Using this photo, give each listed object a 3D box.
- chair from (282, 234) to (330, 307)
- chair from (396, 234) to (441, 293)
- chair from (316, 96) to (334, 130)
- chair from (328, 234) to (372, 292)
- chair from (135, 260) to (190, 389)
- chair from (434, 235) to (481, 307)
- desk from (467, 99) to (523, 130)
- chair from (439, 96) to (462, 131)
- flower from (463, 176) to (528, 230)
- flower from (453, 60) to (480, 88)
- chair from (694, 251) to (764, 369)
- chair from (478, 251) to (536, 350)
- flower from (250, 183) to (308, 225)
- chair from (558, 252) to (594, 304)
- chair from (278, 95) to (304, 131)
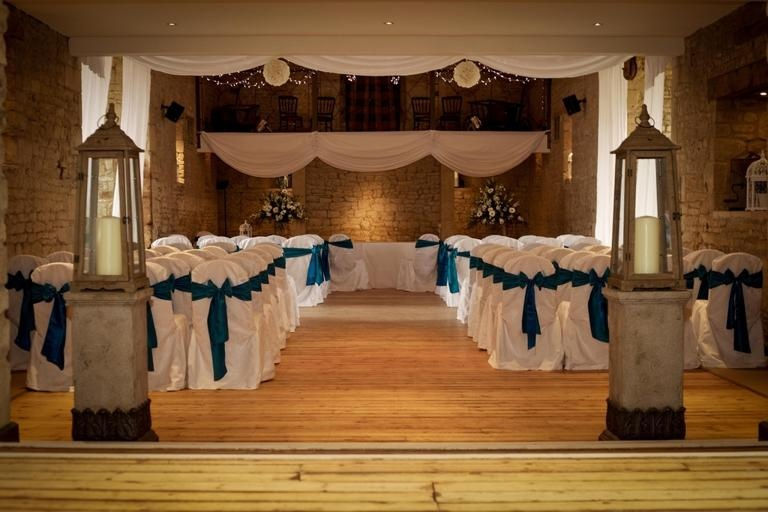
[{"bbox_3d":[-1.087,0.216,8.505,0.390,0.554,0.981,-1,4,-1],"label":"chair"},{"bbox_3d":[0.468,0.147,10.033,0.782,1.265,1.013,2,4,8],"label":"chair"},{"bbox_3d":[-1.306,-3.213,13.979,0.394,0.766,0.832,-1,13,-4],"label":"chair"},{"bbox_3d":[-0.532,0.153,10.670,0.776,1.277,1.065,-1,4,-2],"label":"chair"},{"bbox_3d":[-1.802,0.567,5.115,0.322,1.041,0.326,-4,14,-16],"label":"chair"},{"bbox_3d":[0.779,0.203,8.626,0.866,1.066,0.830,-1,5,-8],"label":"chair"},{"bbox_3d":[2.336,-2.997,13.164,1.163,0.616,2.133,2,13,9],"label":"desk"},{"bbox_3d":[1.485,-3.192,13.844,0.644,1.063,0.708,1,6,4],"label":"chair"},{"bbox_3d":[2.381,-1.085,13.321,1.060,1.452,1.396,-7,10,-28],"label":"flower"},{"bbox_3d":[1.178,-2.612,8.831,0.315,0.378,0.646,2,13,10],"label":"flower"},{"bbox_3d":[3.229,0.500,5.677,0.624,1.014,0.410,3,13,13],"label":"chair"},{"bbox_3d":[1.146,0.427,5.747,0.321,0.702,0.701,-6,14,-25],"label":"chair"},{"bbox_3d":[-2.117,-0.946,12.385,1.011,0.602,0.998,-4,10,-9],"label":"flower"},{"bbox_3d":[1.704,0.191,5.484,0.414,0.422,0.320,-2,6,-22],"label":"chair"},{"bbox_3d":[-2.141,-3.208,13.903,0.493,0.788,1.218,-2,13,-10],"label":"chair"}]
